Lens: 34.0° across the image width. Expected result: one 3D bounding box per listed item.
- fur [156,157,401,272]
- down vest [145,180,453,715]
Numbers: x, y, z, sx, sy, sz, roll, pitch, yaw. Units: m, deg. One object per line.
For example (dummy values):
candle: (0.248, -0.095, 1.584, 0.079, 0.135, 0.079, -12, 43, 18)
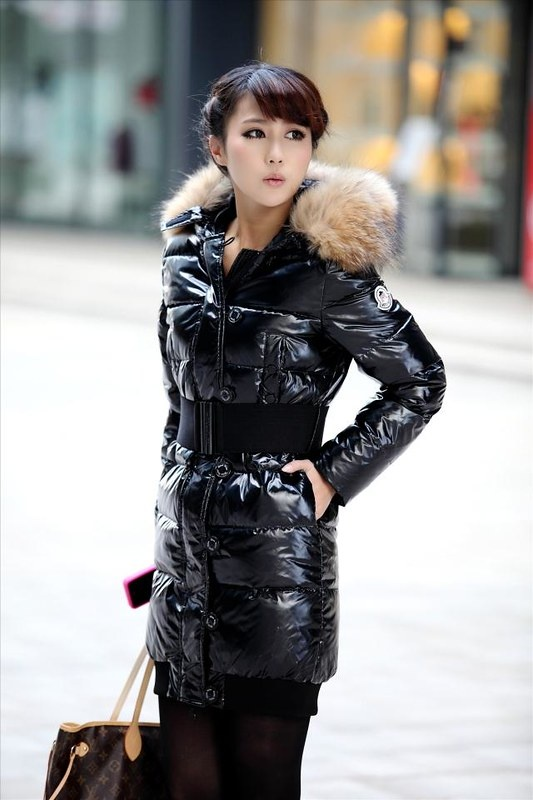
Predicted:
fur: (0.016, -0.359, 1.688, 0.409, 0.147, 0.296, 0, -23, 4)
down vest: (-0.030, 0.042, 1.677, 0.558, 1.006, 0.460, 14, 15, 43)
